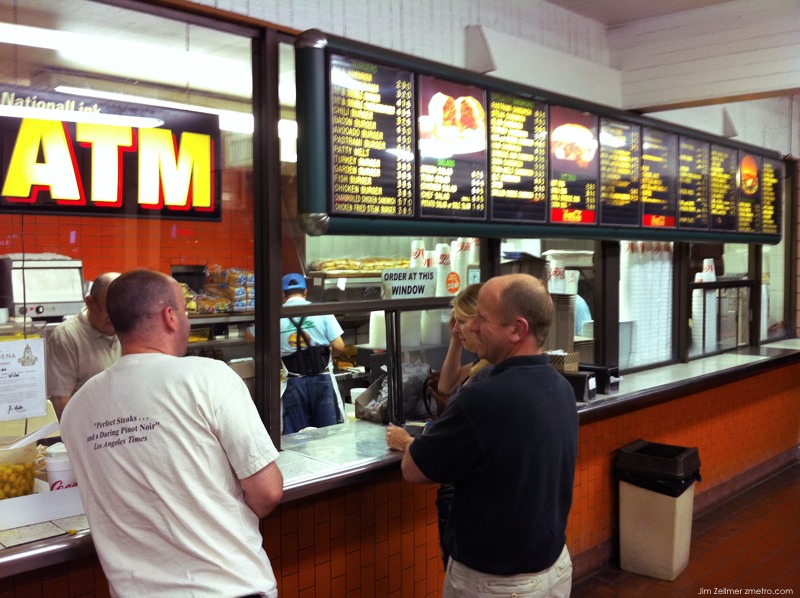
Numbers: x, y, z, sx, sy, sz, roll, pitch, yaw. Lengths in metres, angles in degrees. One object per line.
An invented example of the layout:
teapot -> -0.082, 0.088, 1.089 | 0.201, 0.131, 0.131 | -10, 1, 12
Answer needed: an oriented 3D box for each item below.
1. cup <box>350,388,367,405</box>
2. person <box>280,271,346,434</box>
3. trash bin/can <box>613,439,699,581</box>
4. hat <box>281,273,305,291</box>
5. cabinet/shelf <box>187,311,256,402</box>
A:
cup -> -0.243, 0.542, 3.813 | 0.100, 0.100, 0.104 | 1, 5, 0
person -> -0.551, 0.386, 3.965 | 0.440, 1.215, 0.351 | -5, 31, -9
trash bin/can -> 1.748, 1.429, 4.613 | 0.557, 0.801, 0.540 | -1, -3, 34
hat -> -0.544, -0.082, 3.314 | 0.083, 0.050, 0.126 | -4, 2, -6
cabinet/shelf -> -0.798, 0.267, 3.124 | 0.385, 0.374, 0.274 | 2, -6, -42
